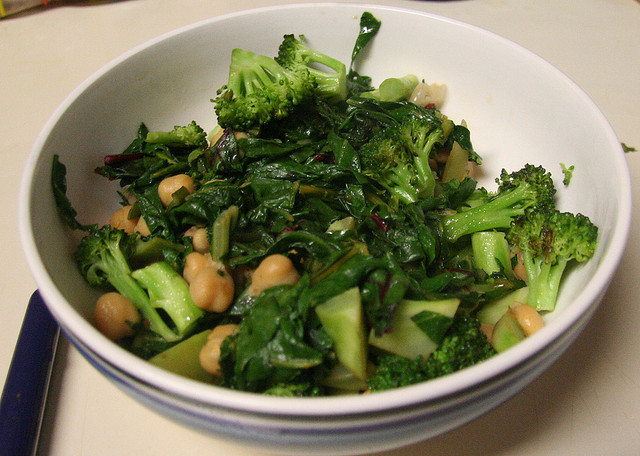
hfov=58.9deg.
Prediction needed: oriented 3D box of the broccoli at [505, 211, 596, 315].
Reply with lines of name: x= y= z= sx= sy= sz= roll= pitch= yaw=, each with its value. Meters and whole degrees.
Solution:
broccoli: x=1.073 y=0.137 z=2.692 sx=0.236 sy=0.427 sz=0.373 roll=1 pitch=21 yaw=-20

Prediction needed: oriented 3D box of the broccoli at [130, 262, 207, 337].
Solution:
broccoli: x=-0.726 y=0.295 z=2.746 sx=0.216 sy=0.173 sz=0.419 roll=-29 pitch=78 yaw=-15

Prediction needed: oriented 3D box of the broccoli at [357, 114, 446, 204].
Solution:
broccoli: x=0.448 y=-0.377 z=3.040 sx=0.430 sy=0.266 sz=0.448 roll=-28 pitch=39 yaw=6

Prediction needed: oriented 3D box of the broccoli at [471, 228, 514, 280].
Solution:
broccoli: x=0.845 y=0.129 z=2.792 sx=0.185 sy=0.114 sz=0.323 roll=-1 pitch=38 yaw=6

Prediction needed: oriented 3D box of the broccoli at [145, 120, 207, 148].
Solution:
broccoli: x=-0.790 y=-0.504 z=3.110 sx=0.231 sy=0.113 sz=0.148 roll=-3 pitch=22 yaw=-16

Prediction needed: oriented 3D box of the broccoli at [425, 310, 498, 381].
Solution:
broccoli: x=0.599 y=0.511 z=2.428 sx=0.247 sy=0.165 sz=0.302 roll=-2 pitch=59 yaw=-1

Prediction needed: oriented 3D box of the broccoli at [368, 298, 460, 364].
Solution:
broccoli: x=0.413 y=0.412 z=2.396 sx=0.236 sy=0.317 sz=0.115 roll=36 pitch=5 yaw=-11

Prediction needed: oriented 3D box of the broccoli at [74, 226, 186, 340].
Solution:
broccoli: x=-0.882 y=0.207 z=2.722 sx=0.519 sy=0.219 sz=0.518 roll=22 pitch=49 yaw=23

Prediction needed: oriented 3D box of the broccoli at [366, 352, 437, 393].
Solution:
broccoli: x=0.333 y=0.622 z=2.426 sx=0.182 sy=0.101 sz=0.212 roll=-2 pitch=14 yaw=40

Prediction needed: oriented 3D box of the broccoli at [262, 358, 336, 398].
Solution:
broccoli: x=-0.046 y=0.650 z=2.460 sx=0.296 sy=0.092 sz=0.125 roll=-21 pitch=6 yaw=-4

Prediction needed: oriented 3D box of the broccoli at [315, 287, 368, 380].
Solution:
broccoli: x=0.108 y=0.427 z=2.346 sx=0.314 sy=0.305 sz=0.117 roll=24 pitch=33 yaw=35
